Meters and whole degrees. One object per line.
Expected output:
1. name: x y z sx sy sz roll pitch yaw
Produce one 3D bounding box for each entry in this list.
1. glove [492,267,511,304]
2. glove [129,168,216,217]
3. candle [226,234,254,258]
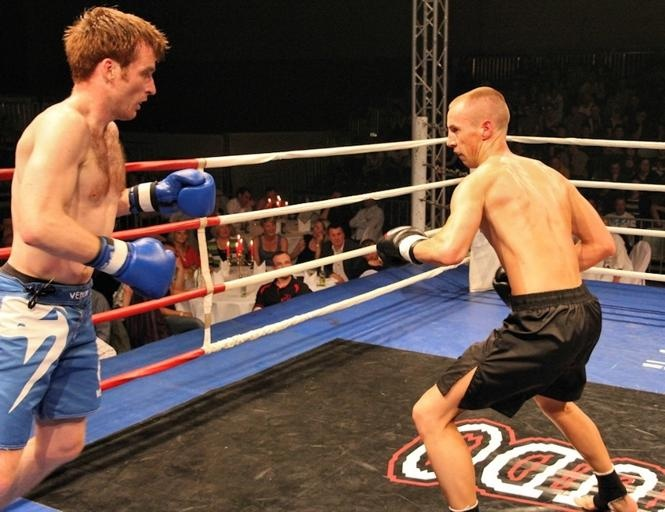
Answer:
1. glove: 0.622 0.109 2.100 0.046 0.114 0.093 -18 -2 41
2. glove: -0.609 -0.239 2.234 0.327 0.113 0.172 -3 27 -4
3. candle: -0.914 -0.099 5.688 0.258 0.212 0.239 0 1 -2
